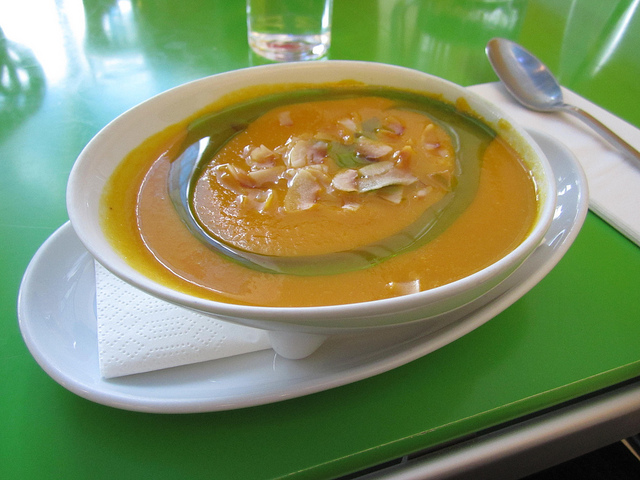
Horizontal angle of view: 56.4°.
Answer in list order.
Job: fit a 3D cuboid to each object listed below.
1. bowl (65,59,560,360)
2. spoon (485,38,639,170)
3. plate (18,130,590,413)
[{"bbox_3d":[0.009,-0.024,0.928,0.725,0.213,0.468,-1,43,-4],"label":"bowl"},{"bbox_3d":[0.450,-0.293,1.227,0.105,0.065,0.497,-27,41,-7],"label":"spoon"},{"bbox_3d":[-0.015,-0.047,0.981,0.793,0.302,0.624,0,30,-6],"label":"plate"}]
